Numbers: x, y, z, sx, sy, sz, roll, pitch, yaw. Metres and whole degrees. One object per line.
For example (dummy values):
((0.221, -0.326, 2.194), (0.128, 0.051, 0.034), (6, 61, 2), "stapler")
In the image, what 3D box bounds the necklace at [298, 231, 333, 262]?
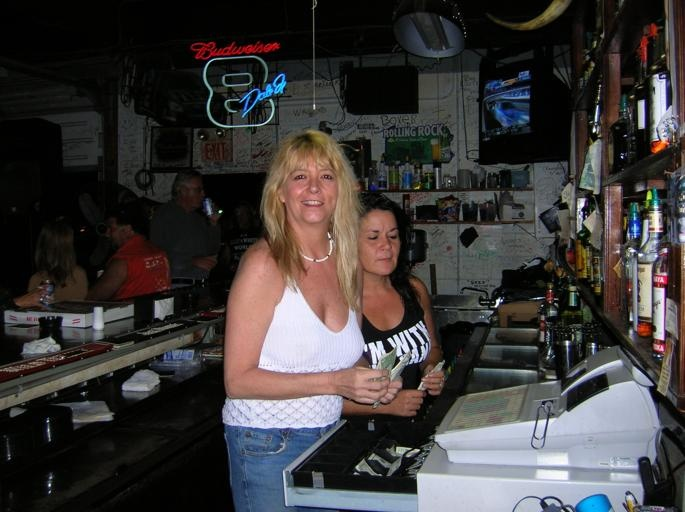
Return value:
((-0.103, -0.037, 2.315), (0.109, 0.126, 0.013), (-23, 5, -41), "necklace")

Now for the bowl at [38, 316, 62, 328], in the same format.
((-1.561, 0.353, 3.043), (0.072, 0.035, 0.083), (1, -9, -6), "bowl")

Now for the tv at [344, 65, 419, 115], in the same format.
((0.458, -2.077, 7.075), (1.069, 0.656, 0.569), (1, 8, 8), "tv")

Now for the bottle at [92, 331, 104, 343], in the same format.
((-1.326, 0.438, 3.092), (0.054, 0.056, 0.053), (0, 0, -29), "bottle")

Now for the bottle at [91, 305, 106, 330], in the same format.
((-1.367, 0.350, 3.181), (0.060, 0.123, 0.066), (-5, 7, -27), "bottle")

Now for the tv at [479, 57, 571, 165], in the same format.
((1.957, -1.645, 6.258), (0.401, 1.205, 1.059), (-7, 9, -39), "tv")

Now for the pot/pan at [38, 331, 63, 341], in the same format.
((-1.546, 0.412, 3.031), (0.077, 0.054, 0.075), (-1, -5, 9), "pot/pan")

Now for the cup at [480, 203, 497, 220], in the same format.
((1.818, -0.545, 7.274), (0.217, 0.236, 0.214), (-1, -8, 0), "cup")

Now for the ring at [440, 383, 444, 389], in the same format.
((0.473, 0.615, 2.705), (0.017, 0.023, 0.010), (8, 0, 11), "ring")
